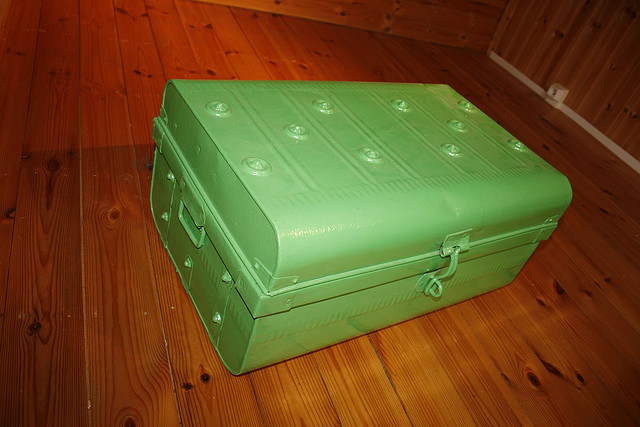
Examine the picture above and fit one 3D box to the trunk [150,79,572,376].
[{"bbox_3d":[0.146,-0.063,1.883,1.410,0.680,0.937,-6,43,-30],"label":"trunk"}]
